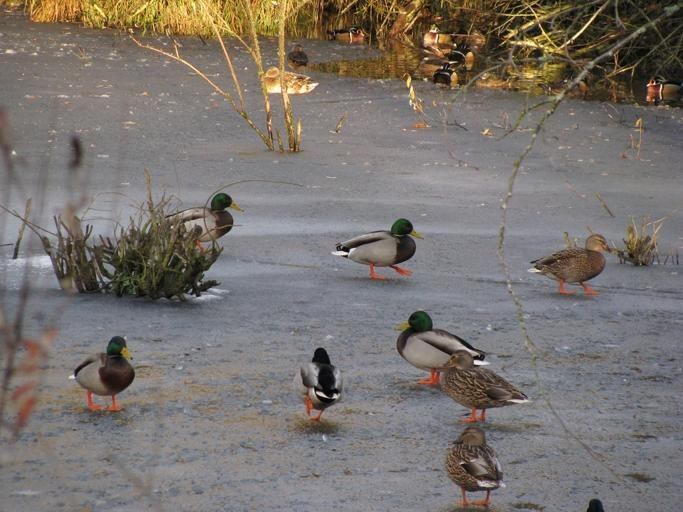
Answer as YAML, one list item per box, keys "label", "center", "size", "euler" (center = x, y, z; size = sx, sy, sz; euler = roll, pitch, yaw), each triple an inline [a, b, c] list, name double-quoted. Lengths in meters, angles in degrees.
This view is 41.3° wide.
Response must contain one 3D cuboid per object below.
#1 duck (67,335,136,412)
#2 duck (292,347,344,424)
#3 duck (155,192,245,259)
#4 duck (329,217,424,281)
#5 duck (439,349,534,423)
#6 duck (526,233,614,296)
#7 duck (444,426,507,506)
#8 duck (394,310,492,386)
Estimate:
- label: "duck"
  center: [-1.821, 0.910, 6.946]
  size: [0.387, 0.447, 0.750]
  euler: [8, -11, -44]
- label: "duck"
  center: [-0.204, 0.897, 6.850]
  size: [0.322, 0.334, 0.513]
  euler: [9, 47, -12]
- label: "duck"
  center: [-1.736, -0.453, 11.246]
  size: [1.029, 0.535, 0.448]
  euler: [5, 10, 17]
- label: "duck"
  center: [0.541, -0.113, 10.303]
  size: [1.230, 0.544, 0.582]
  euler: [-1, 5, 8]
- label: "duck"
  center: [1.123, 1.029, 7.077]
  size: [0.812, 0.405, 0.343]
  euler: [10, 3, 7]
- label: "duck"
  center: [2.558, 0.088, 9.990]
  size: [0.653, 0.624, 0.677]
  euler: [7, 16, 32]
- label: "duck"
  center: [0.896, 1.413, 6.038]
  size: [0.396, 0.463, 0.311]
  euler: [5, 16, 23]
- label: "duck"
  center: [0.886, 0.774, 7.613]
  size: [0.893, 0.465, 0.465]
  euler: [5, 12, 35]
